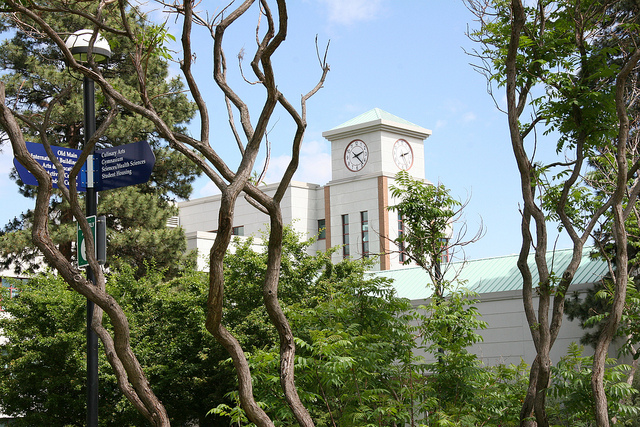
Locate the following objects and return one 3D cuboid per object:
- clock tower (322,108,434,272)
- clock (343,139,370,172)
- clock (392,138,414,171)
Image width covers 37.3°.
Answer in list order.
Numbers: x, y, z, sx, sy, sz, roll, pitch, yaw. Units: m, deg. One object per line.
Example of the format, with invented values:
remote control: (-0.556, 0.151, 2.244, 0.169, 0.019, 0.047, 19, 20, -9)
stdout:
clock tower: (2.883, -1.725, 53.003, 5.491, 8.750, 3.246, -3, -11, 7)
clock: (2.041, -3.266, 53.388, 1.775, 1.827, 0.124, -8, -8, 43)
clock: (4.653, -3.283, 53.286, 0.093, 1.843, 1.780, -13, 16, -34)
